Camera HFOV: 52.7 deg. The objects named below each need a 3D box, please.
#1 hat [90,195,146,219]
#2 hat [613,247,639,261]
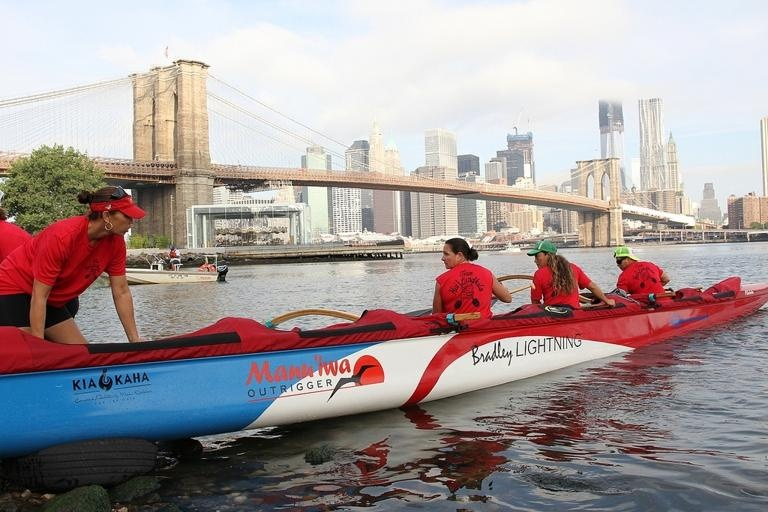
[{"bbox_3d":[-2.029,-0.370,6.073,0.465,0.096,0.243,5,8,-21],"label":"hat"},{"bbox_3d":[3.054,-0.037,9.994,0.345,0.132,0.378,1,2,-20],"label":"hat"}]
